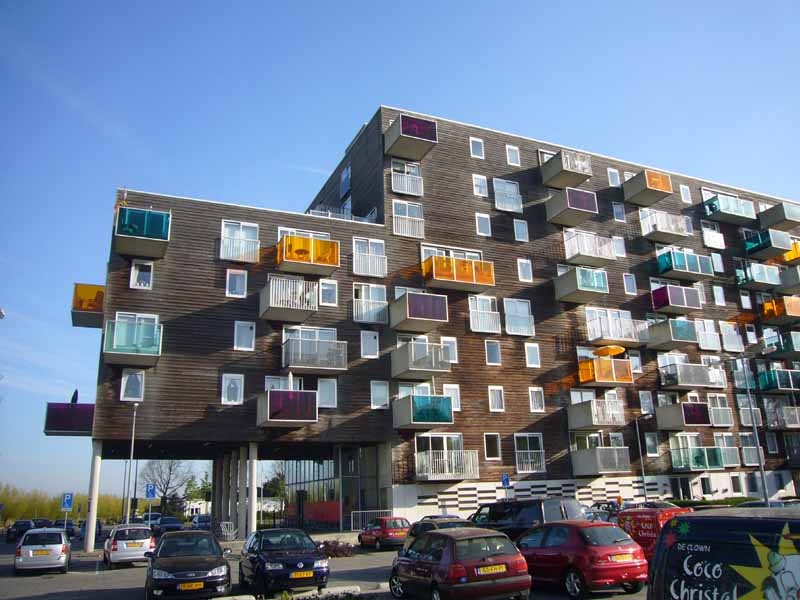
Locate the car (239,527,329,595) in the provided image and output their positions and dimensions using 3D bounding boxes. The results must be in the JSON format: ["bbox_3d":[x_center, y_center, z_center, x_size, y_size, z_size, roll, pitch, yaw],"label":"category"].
[{"bbox_3d":[-3.510,7.912,21.065,2.119,1.834,2.149,5,-21,-21],"label":"car"}]
